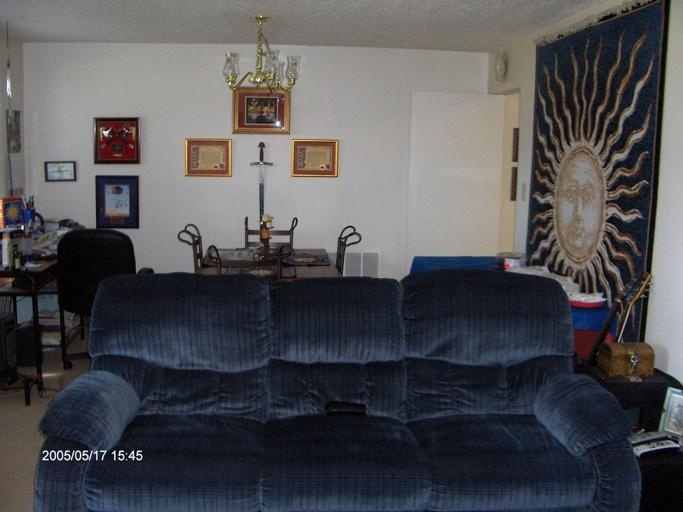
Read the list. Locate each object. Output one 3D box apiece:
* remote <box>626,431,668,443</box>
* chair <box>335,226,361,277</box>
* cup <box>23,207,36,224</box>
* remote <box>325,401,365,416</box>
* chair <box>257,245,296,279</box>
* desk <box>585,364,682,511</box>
[{"bbox_3d":[1.712,1.010,3.521,0.151,0.036,0.146,-3,0,15],"label":"remote"},{"bbox_3d":[0.072,-0.068,6.588,0.221,0.704,0.375,-3,15,-10],"label":"chair"},{"bbox_3d":[-2.780,-0.362,5.631,0.118,0.134,0.121,1,-1,0],"label":"cup"},{"bbox_3d":[0.028,0.843,3.512,0.134,0.031,0.094,0,27,3],"label":"remote"},{"bbox_3d":[-0.514,0.055,5.059,0.242,0.142,0.356,1,11,0],"label":"chair"},{"bbox_3d":[1.646,1.032,3.742,0.656,0.639,0.662,-1,2,-3],"label":"desk"}]
